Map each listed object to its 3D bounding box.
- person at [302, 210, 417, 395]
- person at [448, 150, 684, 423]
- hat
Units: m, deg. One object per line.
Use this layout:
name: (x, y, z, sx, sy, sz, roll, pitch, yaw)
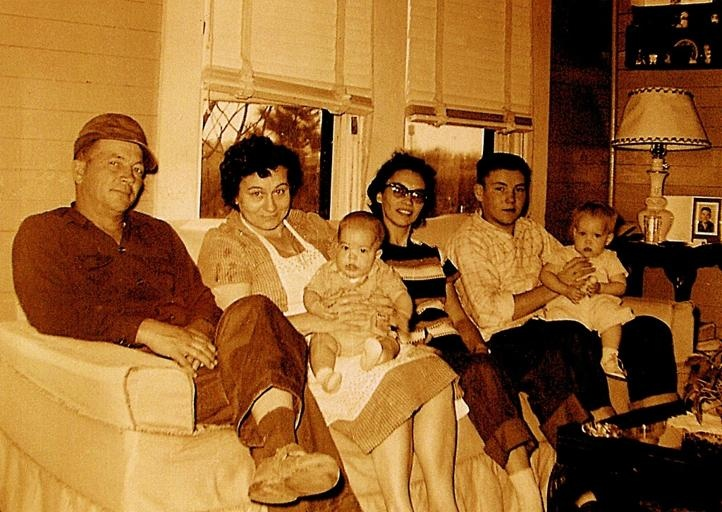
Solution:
person: (-0.016, 0.161, 3.097, 0.457, 0.793, 0.661, 3, 12, 0)
person: (0.988, 0.187, 3.519, 0.673, 1.476, 1.259, -6, 5, -28)
hat: (-1.093, -0.545, 3.286, 0.291, 0.183, 0.255, -7, -27, -3)
